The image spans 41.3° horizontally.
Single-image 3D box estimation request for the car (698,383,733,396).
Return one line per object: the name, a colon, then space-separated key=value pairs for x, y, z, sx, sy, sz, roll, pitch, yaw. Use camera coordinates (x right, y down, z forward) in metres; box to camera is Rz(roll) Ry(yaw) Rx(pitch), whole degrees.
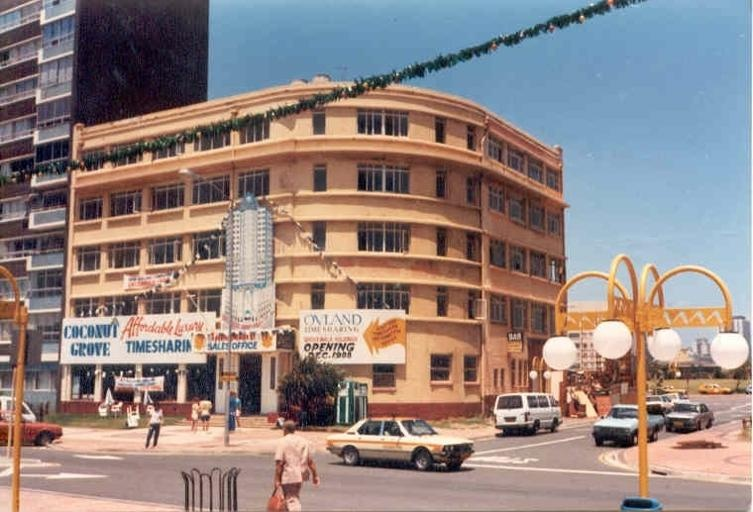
car: x=32.696 y=13.076 z=96.831 sx=2.924 sy=1.109 sz=1.405 roll=-2 pitch=-7 yaw=0
